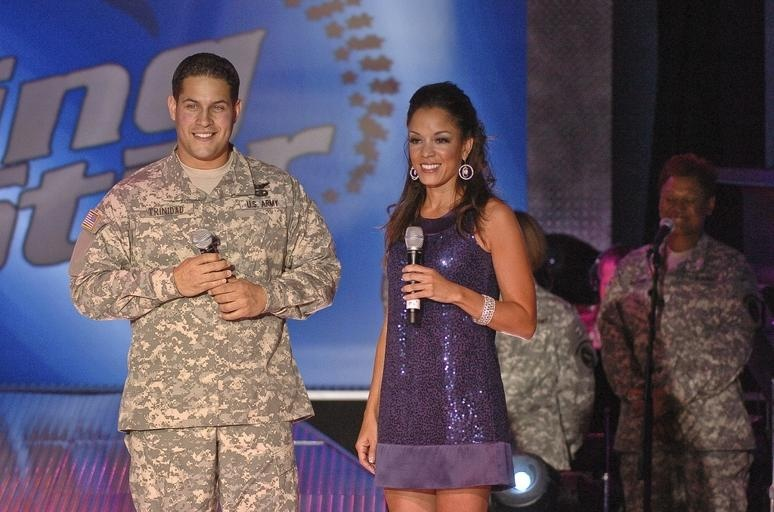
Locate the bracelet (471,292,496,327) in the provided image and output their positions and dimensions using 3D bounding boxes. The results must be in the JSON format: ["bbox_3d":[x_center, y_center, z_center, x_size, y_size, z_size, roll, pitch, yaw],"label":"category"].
[{"bbox_3d":[0.464,0.262,4.625,0.070,0.136,0.111,6,-23,-5],"label":"bracelet"}]

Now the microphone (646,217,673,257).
[{"bbox_3d":[1.764,-0.118,6.236,0.099,0.323,0.096,26,-2,-19],"label":"microphone"}]

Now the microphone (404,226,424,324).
[{"bbox_3d":[0.136,0.098,4.681,0.092,0.477,0.181,0,2,2],"label":"microphone"}]
